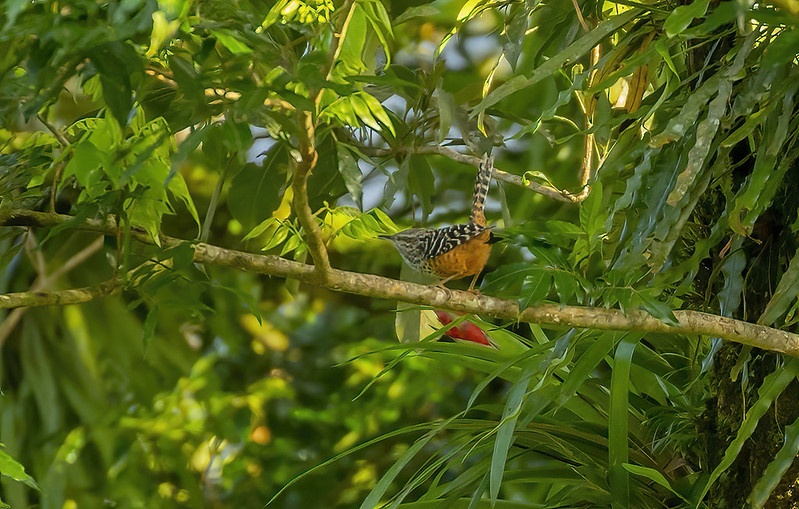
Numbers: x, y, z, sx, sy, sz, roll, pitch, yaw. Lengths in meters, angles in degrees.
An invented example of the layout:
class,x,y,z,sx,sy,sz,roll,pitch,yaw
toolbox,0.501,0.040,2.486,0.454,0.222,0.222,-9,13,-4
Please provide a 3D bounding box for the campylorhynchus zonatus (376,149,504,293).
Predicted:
class,x,y,z,sx,sy,sz,roll,pitch,yaw
campylorhynchus zonatus,0.127,-0.075,2.996,0.307,0.422,0.407,3,24,-1
